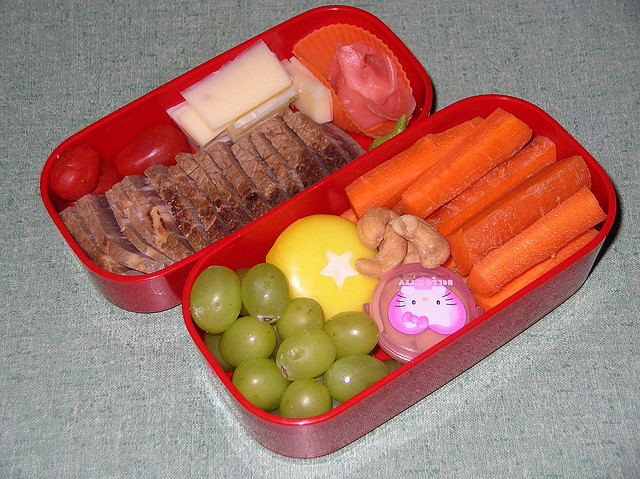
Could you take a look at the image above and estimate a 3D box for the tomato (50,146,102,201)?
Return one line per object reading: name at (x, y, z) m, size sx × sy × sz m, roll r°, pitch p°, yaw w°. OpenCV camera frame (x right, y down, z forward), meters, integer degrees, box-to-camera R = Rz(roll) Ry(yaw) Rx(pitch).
tomato at (-0.960, -0.263, 2.850) m, size 0.151 × 0.109 × 0.219 m, roll 18°, pitch 77°, yaw 7°
